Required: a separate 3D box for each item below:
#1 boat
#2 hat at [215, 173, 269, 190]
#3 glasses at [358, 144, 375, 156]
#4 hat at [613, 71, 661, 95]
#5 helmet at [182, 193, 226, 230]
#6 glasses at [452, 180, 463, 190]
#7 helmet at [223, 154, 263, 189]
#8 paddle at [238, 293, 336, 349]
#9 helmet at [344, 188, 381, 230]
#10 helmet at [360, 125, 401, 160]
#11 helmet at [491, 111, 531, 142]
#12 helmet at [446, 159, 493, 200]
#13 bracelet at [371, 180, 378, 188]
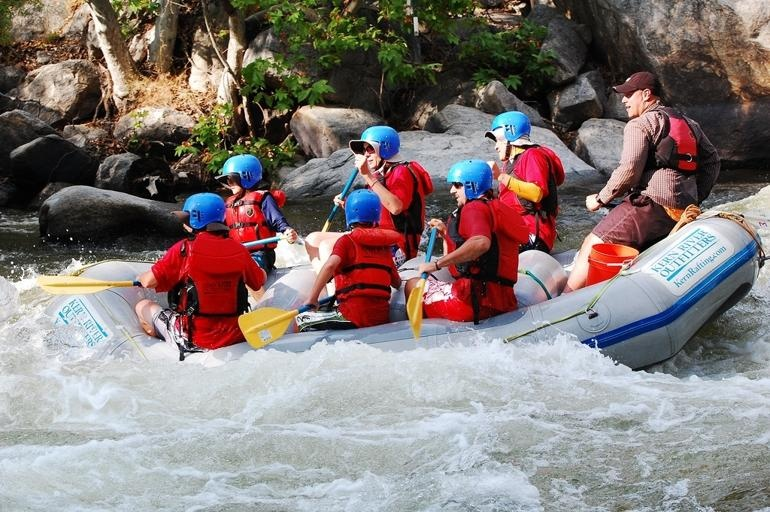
[{"bbox_3d":[0.436,0.454,8.395,5.785,0.974,2.608,-2,11,-3],"label":"boat"},{"bbox_3d":[-1.584,-0.875,9.512,0.745,0.207,0.487,-3,5,-19],"label":"hat"},{"bbox_3d":[-0.183,-1.151,9.123,0.141,0.127,0.049,-10,-9,21],"label":"glasses"},{"bbox_3d":[2.633,-1.790,8.741,0.488,0.213,0.285,2,11,6],"label":"hat"},{"bbox_3d":[-1.701,-0.454,8.289,0.454,0.301,0.294,6,17,10],"label":"helmet"},{"bbox_3d":[0.722,-0.684,8.156,0.079,0.069,0.031,-1,4,29],"label":"glasses"},{"bbox_3d":[-1.581,-0.977,9.566,0.486,0.339,0.331,-17,20,-16],"label":"helmet"},{"bbox_3d":[-0.981,0.606,8.187,0.988,0.272,0.101,-20,-3,-17],"label":"paddle"},{"bbox_3d":[-0.201,-0.469,8.186,0.316,0.305,0.383,2,8,-9],"label":"helmet"},{"bbox_3d":[-0.035,-1.267,9.218,0.423,0.277,0.368,-13,16,-10],"label":"helmet"},{"bbox_3d":[1.382,-1.425,9.179,0.427,0.289,0.290,-17,16,4],"label":"helmet"},{"bbox_3d":[0.853,-0.753,8.093,0.495,0.326,0.331,1,1,7],"label":"helmet"},{"bbox_3d":[-0.107,-0.762,8.860,0.079,0.055,0.082,-11,-8,40],"label":"bracelet"}]
